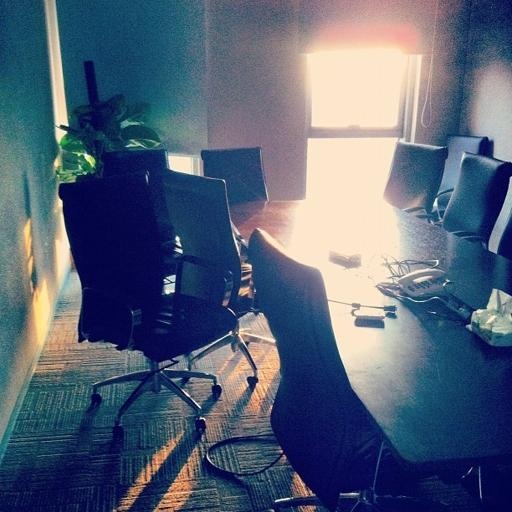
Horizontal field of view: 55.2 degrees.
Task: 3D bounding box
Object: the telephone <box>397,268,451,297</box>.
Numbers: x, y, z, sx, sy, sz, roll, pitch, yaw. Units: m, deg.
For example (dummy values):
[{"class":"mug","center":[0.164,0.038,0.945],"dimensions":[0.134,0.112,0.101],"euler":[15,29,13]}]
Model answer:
[{"class":"telephone","center":[0.608,0.079,1.831],"dimensions":[0.116,0.046,0.147],"euler":[-12,13,-1]}]
